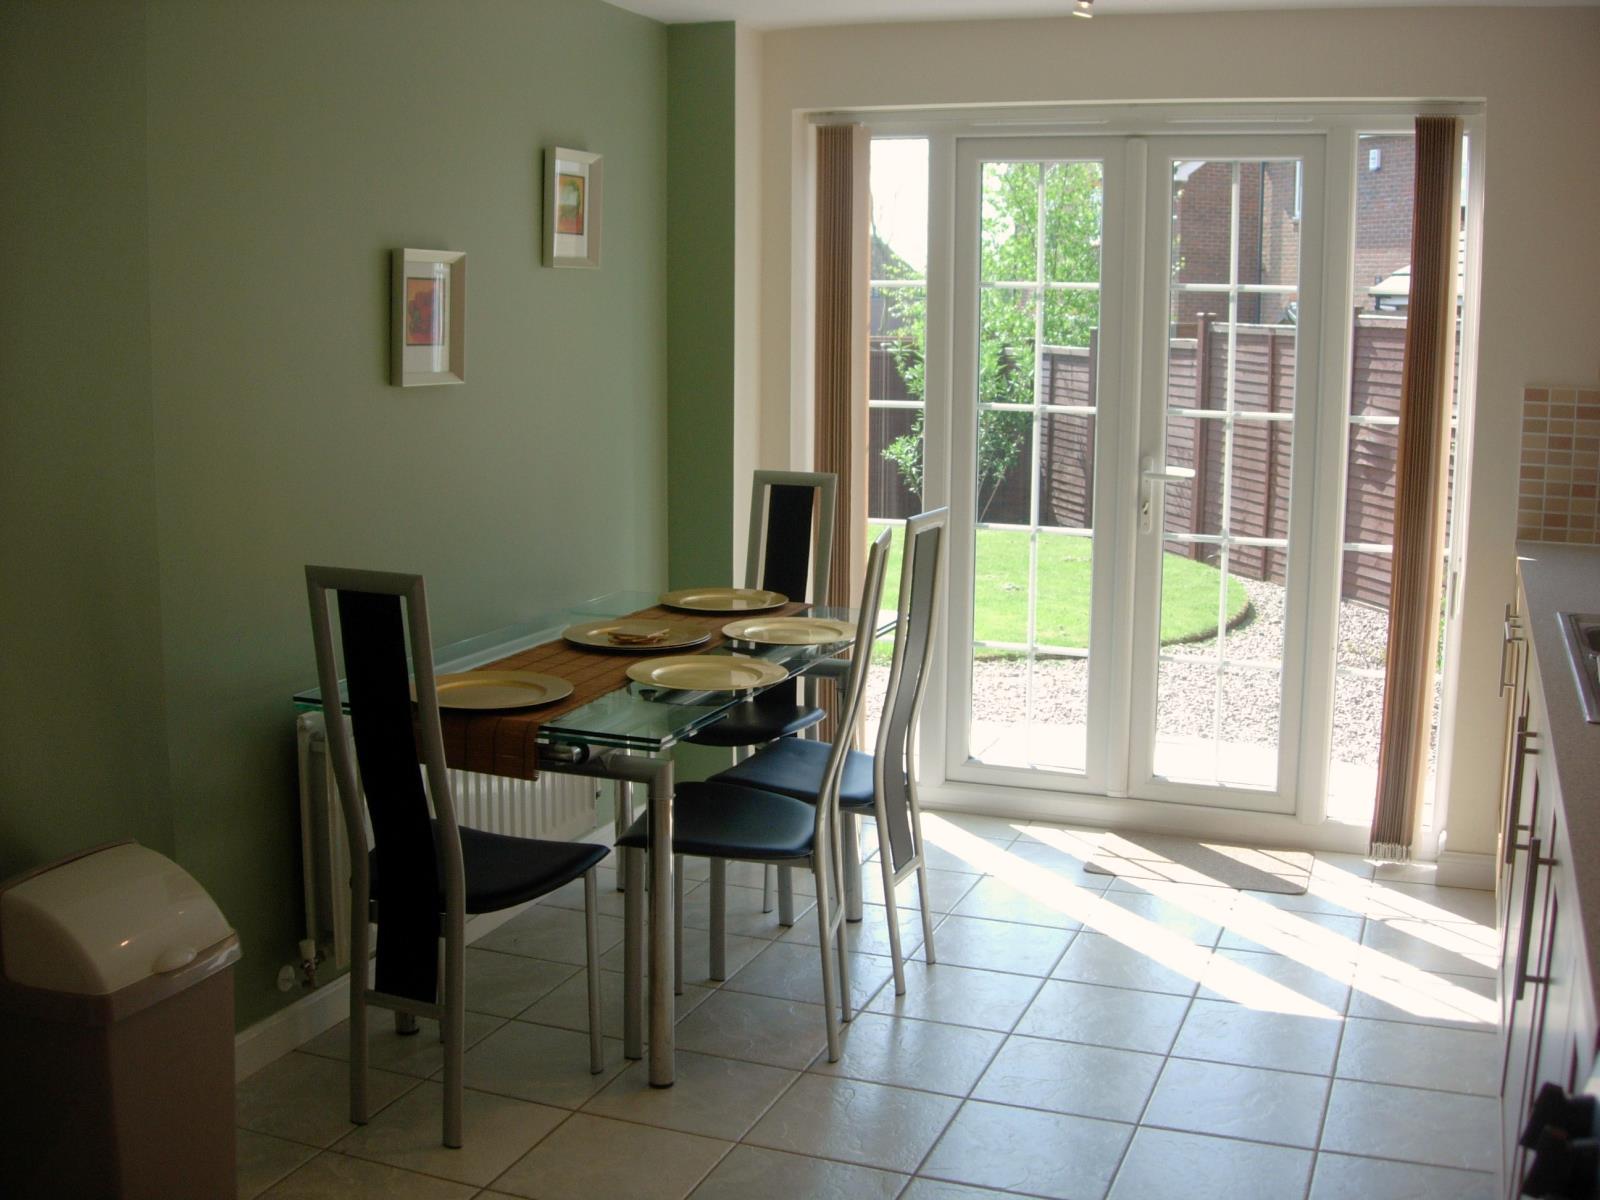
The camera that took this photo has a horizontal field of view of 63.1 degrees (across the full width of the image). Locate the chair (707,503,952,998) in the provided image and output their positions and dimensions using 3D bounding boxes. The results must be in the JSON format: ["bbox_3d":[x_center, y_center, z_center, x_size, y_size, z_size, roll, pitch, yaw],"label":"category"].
[{"bbox_3d":[-0.049,0.450,4.009,0.966,1.583,0.849,3,17,11],"label":"chair"}]

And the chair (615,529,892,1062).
[{"bbox_3d":[-0.121,0.543,3.731,0.758,1.272,0.709,-1,0,-1],"label":"chair"}]

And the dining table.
[{"bbox_3d":[-0.450,0.521,3.439,1.142,1.227,1.927,3,7,23],"label":"dining table"}]

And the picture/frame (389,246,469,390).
[{"bbox_3d":[-1.078,-0.814,3.750,0.091,0.474,0.404,5,9,23],"label":"picture/frame"}]

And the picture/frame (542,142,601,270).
[{"bbox_3d":[-0.775,-1.322,4.362,0.075,0.475,0.425,4,9,19],"label":"picture/frame"}]

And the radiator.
[{"bbox_3d":[-0.909,0.500,3.285,0.077,0.632,0.945,-2,12,24],"label":"radiator"}]

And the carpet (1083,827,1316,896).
[{"bbox_3d":[1.439,0.948,4.727,0.751,0.009,0.443,4,13,18],"label":"carpet"}]

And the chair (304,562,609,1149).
[{"bbox_3d":[-0.882,0.584,3.249,0.553,1.352,0.606,5,7,32],"label":"chair"}]
